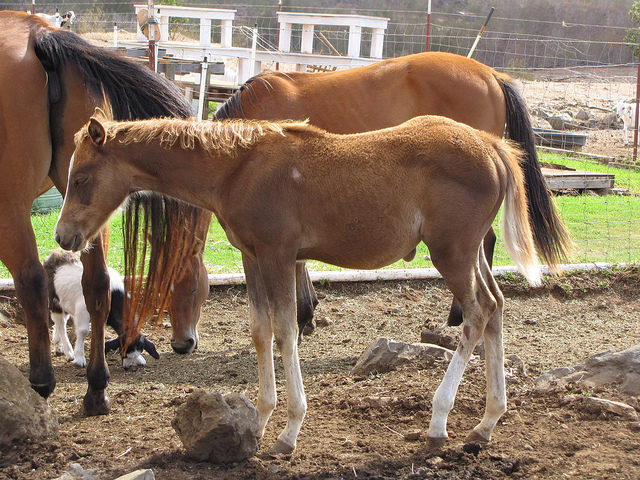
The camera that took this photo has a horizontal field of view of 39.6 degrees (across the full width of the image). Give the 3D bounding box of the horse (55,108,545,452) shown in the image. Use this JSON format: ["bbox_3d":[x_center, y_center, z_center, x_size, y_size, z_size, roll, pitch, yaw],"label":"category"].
[{"bbox_3d":[-0.131,0.366,7.597,3.999,3.006,0.961,-2,2,1],"label":"horse"}]

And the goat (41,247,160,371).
[{"bbox_3d":[-2.213,0.529,9.238,0.624,1.189,2.025,-16,24,-37],"label":"goat"}]
